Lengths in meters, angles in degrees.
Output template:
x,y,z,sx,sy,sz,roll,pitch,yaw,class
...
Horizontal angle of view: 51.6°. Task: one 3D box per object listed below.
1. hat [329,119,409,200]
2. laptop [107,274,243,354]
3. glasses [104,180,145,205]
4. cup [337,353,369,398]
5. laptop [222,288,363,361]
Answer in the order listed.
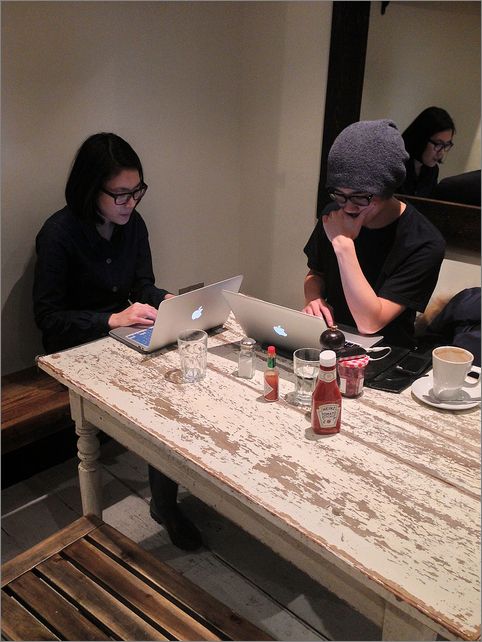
x,y,z,sx,sy,sz,roll,pitch,yaw,class
0.386,-0.491,1.514,0.235,0.228,0.158,4,19,7,hat
-0.188,-0.037,1.512,0.273,0.192,0.342,24,30,31,laptop
-0.452,-0.483,1.876,0.117,0.038,0.120,32,45,32,glasses
0.271,0.137,1.272,0.094,0.106,0.095,-3,32,2,cup
0.108,0.010,1.364,0.273,0.168,0.217,19,41,39,laptop
